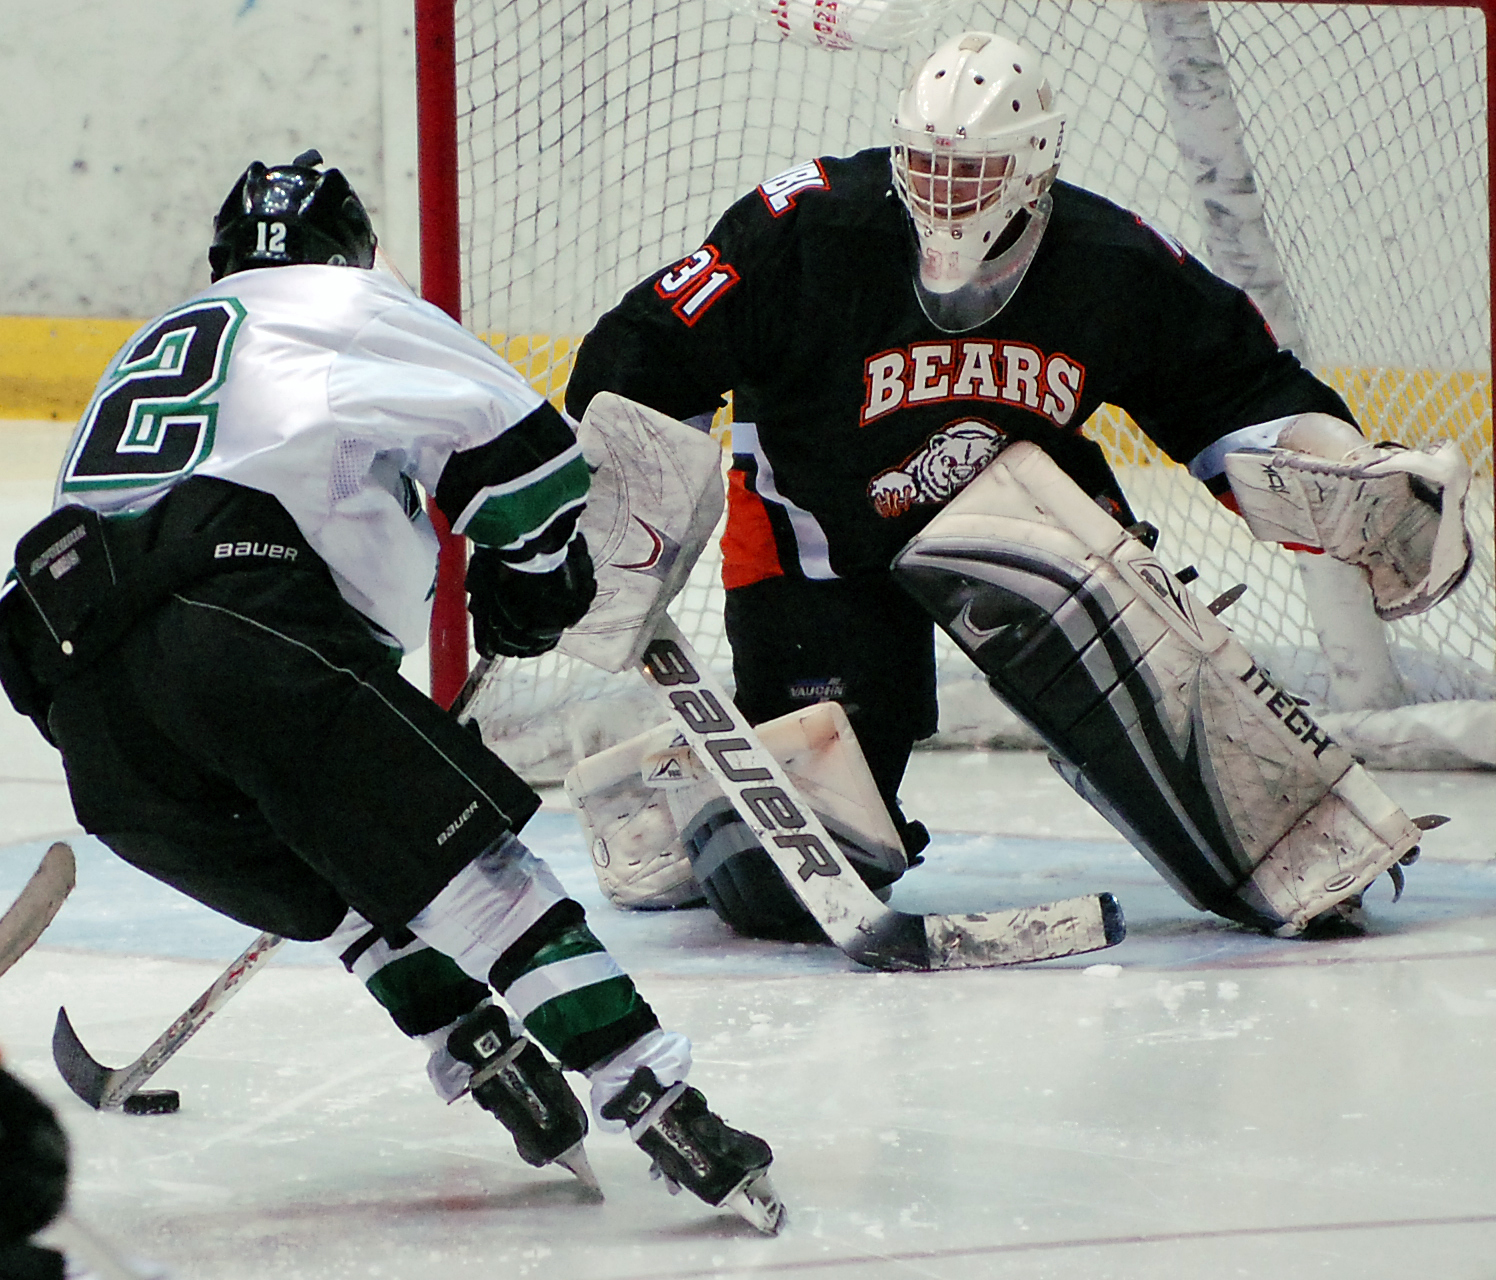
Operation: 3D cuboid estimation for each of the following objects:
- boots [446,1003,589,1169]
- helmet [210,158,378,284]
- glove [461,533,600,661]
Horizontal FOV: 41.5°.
[{"bbox_3d":[-0.224,0.438,1.981,0.094,0.045,0.197,-40,72,-5],"label":"boots"},{"bbox_3d":[-0.461,-0.454,2.134,0.155,0.143,0.166,4,2,10],"label":"helmet"},{"bbox_3d":[-0.247,-0.044,2.117,0.152,0.123,0.053,-22,48,58],"label":"glove"}]
